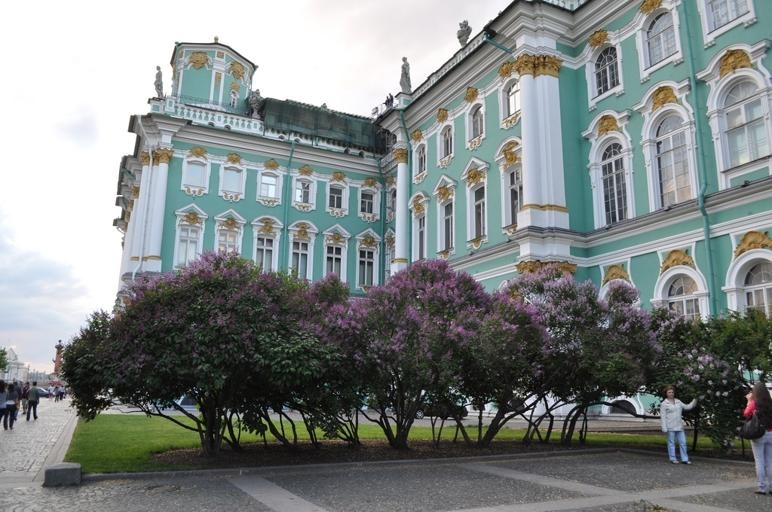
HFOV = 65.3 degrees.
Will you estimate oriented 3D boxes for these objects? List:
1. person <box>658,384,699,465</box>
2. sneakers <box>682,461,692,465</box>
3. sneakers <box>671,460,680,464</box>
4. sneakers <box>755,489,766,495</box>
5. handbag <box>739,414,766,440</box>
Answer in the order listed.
[{"bbox_3d":[8.294,4.743,17.112,0.925,2.061,1.486,-4,-9,25],"label":"person"},{"bbox_3d":[8.241,5.695,16.544,0.231,0.094,0.087,2,-6,-8],"label":"sneakers"},{"bbox_3d":[7.923,5.675,16.552,0.082,0.085,0.202,4,-10,-28],"label":"sneakers"},{"bbox_3d":[8.436,5.320,13.591,0.302,0.104,0.150,0,-8,0],"label":"sneakers"},{"bbox_3d":[8.390,3.951,13.828,0.519,0.559,0.238,-5,-10,30],"label":"handbag"}]
